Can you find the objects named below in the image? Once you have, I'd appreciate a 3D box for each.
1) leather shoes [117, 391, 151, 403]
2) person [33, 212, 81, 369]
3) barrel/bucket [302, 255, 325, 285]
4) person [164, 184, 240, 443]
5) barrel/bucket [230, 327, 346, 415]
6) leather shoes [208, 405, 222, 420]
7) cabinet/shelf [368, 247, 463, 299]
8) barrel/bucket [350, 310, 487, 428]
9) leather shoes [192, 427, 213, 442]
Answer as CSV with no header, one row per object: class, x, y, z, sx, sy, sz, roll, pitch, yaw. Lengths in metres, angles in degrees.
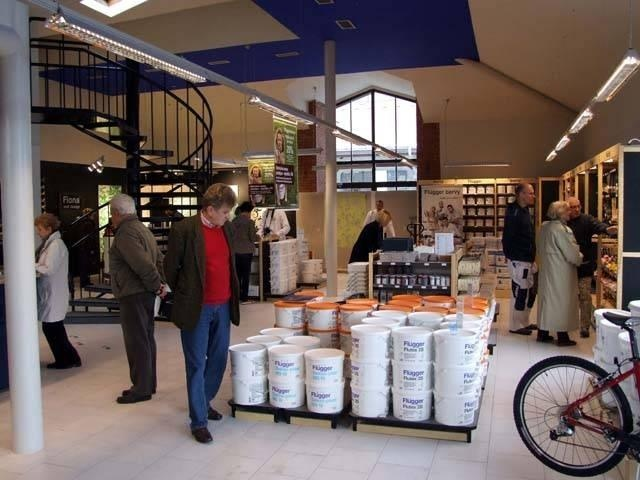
leather shoes,-2.143,1.830,6.132,0.275,0.112,0.171,5,0,-1
person,-3.432,0.714,6.922,0.450,2.118,0.539,-3,6,-24
barrel/bucket,-0.156,0.799,13.368,0.466,0.634,0.840,0,2,13
person,-1.149,0.714,5.280,0.724,2.526,0.444,-3,6,-21
barrel/bucket,-0.328,1.369,5.523,0.889,0.478,0.715,1,1,-5
leather shoes,-1.120,1.860,5.668,0.195,0.152,0.068,0,6,-12
cabinet/shelf,1.518,0.453,8.440,1.253,1.159,0.750,1,4,12
barrel/bucket,0.976,1.285,5.454,1.225,0.882,0.886,0,1,9
leather shoes,-1.154,1.922,5.217,0.095,0.108,0.237,-3,4,-39
